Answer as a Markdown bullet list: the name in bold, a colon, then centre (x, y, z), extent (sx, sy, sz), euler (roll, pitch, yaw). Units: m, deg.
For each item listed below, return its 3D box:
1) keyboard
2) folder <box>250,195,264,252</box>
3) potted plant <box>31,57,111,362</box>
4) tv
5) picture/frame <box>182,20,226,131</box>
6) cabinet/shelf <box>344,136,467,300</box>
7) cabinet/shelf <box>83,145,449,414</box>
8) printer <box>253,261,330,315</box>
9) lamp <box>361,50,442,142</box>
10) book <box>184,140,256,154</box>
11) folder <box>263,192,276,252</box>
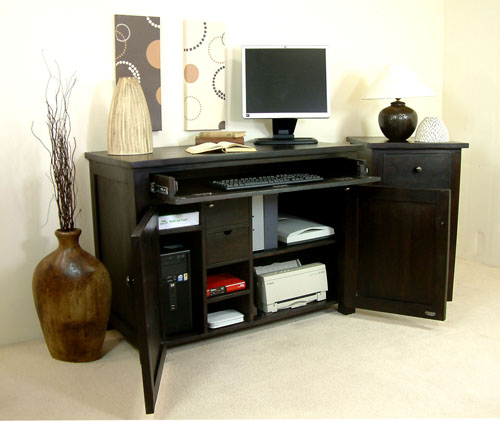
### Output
- **keyboard**: centre (0.077, -0.152, 2.127), extent (0.539, 0.030, 0.309), euler (-8, 15, -27)
- **folder**: centre (0.035, 0.056, 2.321), extent (0.075, 0.242, 0.242), euler (-3, 13, -9)
- **potted plant**: centre (-0.903, -0.005, 2.093), extent (0.335, 1.415, 0.467), euler (-7, 14, -29)
- **tv**: centre (0.198, -0.700, 2.571), extent (0.536, 0.647, 0.222), euler (-1, 9, -6)
- **picture/frame**: centre (-0.255, -0.807, 2.531), extent (0.260, 0.587, 0.027), euler (10, 19, 12)
- **cabinet/shelf**: centre (1.103, -0.028, 2.854), extent (0.647, 0.921, 0.682), euler (-10, 17, -27)
- **cabinet/shelf**: centre (0.124, 0.198, 2.309), extent (1.762, 1.066, 1.040), euler (-8, 12, -31)
- **printer**: centre (0.234, 0.427, 2.437), extent (0.358, 0.218, 0.262), euler (-9, 18, -25)
- **lamp**: centre (0.899, -0.680, 2.646), extent (0.422, 0.508, 0.463), euler (-3, 10, -7)
- **book**: centre (-0.154, -0.326, 2.206), extent (0.342, 0.049, 0.212), euler (-4, 14, -13)
- **folder**: centre (0.115, 0.065, 2.410), extent (0.086, 0.315, 0.065), euler (-3, 16, -7)
